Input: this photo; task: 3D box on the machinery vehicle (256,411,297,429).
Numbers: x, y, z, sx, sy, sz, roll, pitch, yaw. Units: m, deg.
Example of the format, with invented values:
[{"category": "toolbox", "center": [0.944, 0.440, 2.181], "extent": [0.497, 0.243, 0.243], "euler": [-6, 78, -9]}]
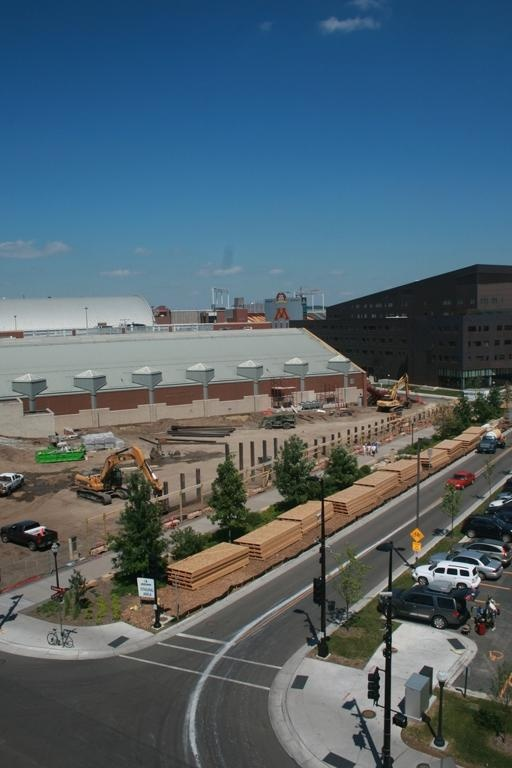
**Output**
[{"category": "machinery vehicle", "center": [3.113, 4.721, 80.450], "extent": [3.718, 1.760, 2.263], "euler": [-1, 3, 3]}]

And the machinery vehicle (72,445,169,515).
[{"category": "machinery vehicle", "center": [-10.949, 7.235, 48.999], "extent": [8.892, 4.417, 3.195], "euler": [3, 5, 37]}]

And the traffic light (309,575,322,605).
[{"category": "traffic light", "center": [2.422, 8.117, 24.217], "extent": [0.351, 1.094, 0.379], "euler": [-5, 6, 7]}]

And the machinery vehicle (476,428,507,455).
[{"category": "machinery vehicle", "center": [24.321, 5.941, 63.976], "extent": [1.698, 1.556, 4.836], "euler": [-2, 2, 27]}]

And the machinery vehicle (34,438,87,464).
[{"category": "machinery vehicle", "center": [-19.398, 6.665, 61.231], "extent": [3.322, 1.160, 2.187], "euler": [-2, 7, -7]}]

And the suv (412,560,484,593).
[{"category": "suv", "center": [9.377, 9.630, 30.425], "extent": [2.779, 1.143, 1.562], "euler": [4, 7, 29]}]

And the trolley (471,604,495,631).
[{"category": "trolley", "center": [9.790, 9.948, 26.370], "extent": [1.025, 1.098, 0.802], "euler": [-5, 9, -15]}]
